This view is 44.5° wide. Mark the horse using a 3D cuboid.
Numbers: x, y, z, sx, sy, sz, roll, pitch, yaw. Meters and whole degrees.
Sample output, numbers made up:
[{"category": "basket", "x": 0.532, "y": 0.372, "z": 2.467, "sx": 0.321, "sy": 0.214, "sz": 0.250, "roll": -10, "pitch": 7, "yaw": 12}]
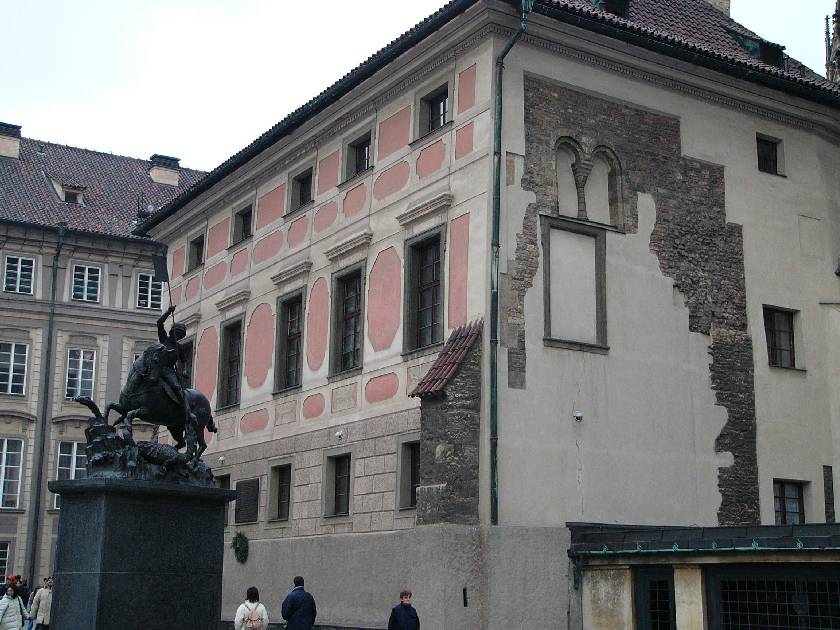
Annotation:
[{"category": "horse", "x": -4.016, "y": 1.383, "z": 16.100, "sx": 0.771, "sy": 1.870, "sz": 2.223, "roll": 4, "pitch": -5, "yaw": 33}]
